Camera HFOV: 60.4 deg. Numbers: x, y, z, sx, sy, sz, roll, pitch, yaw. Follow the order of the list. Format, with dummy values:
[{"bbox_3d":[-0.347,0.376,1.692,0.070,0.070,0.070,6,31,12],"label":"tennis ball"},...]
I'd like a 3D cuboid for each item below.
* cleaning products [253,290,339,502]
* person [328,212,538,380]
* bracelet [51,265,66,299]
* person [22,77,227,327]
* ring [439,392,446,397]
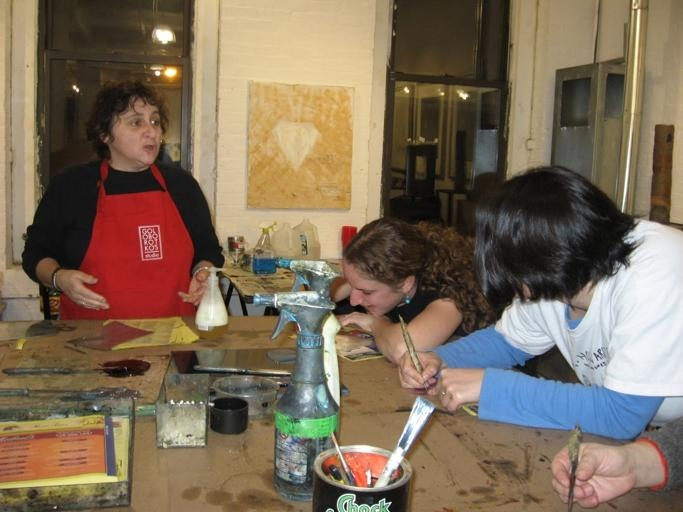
[{"bbox_3d":[-0.099,0.300,1.248,0.177,0.453,0.103,1,9,8],"label":"cleaning products"},{"bbox_3d":[0.309,0.149,2.485,0.780,0.639,0.569,-13,34,-15],"label":"person"},{"bbox_3d":[-1.260,0.107,2.594,0.044,0.116,0.188,-5,9,-27],"label":"bracelet"},{"bbox_3d":[-1.031,-0.276,2.815,0.865,1.137,0.605,-7,11,-38],"label":"person"},{"bbox_3d":[0.291,0.399,1.702,0.015,0.013,0.003,-2,-6,36],"label":"ring"}]
